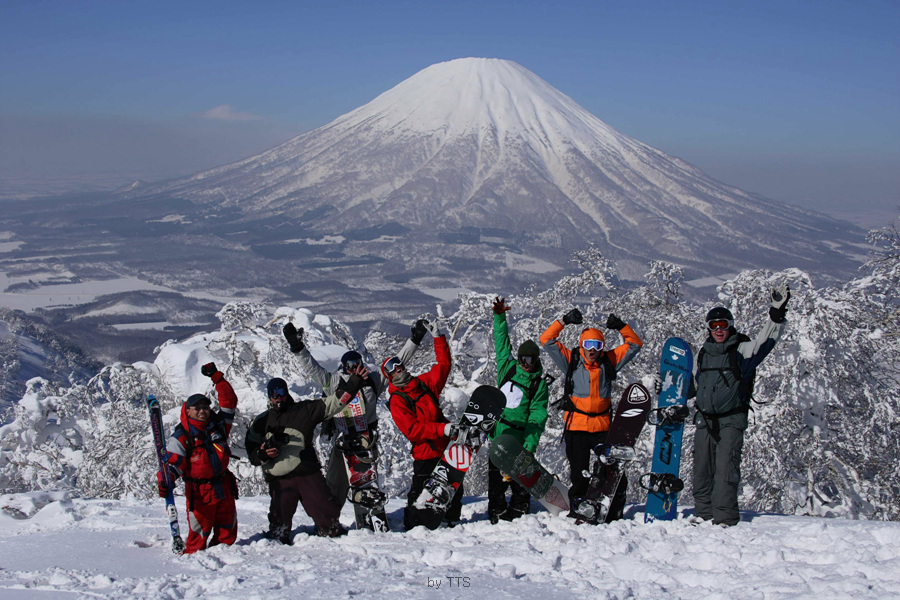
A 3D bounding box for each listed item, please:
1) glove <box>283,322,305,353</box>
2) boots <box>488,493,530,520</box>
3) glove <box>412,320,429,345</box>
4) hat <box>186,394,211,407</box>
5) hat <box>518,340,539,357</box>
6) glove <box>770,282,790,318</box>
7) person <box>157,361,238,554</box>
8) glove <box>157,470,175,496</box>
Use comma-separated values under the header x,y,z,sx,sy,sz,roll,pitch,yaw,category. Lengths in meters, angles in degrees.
x,y,z,sx,sy,sz,roll,pitch,yaw,category
-3.431,0.826,21.238,0.540,0.624,0.269,-13,-2,-31,glove
1.276,4.543,21.338,0.763,0.513,0.737,-5,-22,-25,boots
-0.676,0.707,21.774,0.388,0.507,0.171,4,-3,36,glove
-5.319,2.117,20.667,0.503,0.264,0.290,2,-7,-18,hat
1.700,1.043,21.320,0.440,0.378,0.251,0,-7,4,hat
6.767,0.003,20.111,0.222,0.628,0.646,9,3,-3,glove
-5.244,3.313,20.730,1.498,3.950,0.660,2,-7,-15,person
-5.922,3.853,20.718,0.525,0.644,0.244,0,0,8,glove
